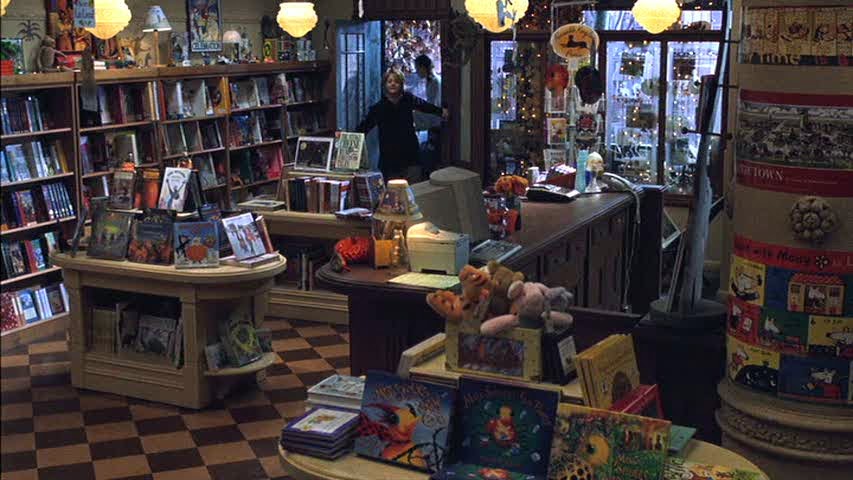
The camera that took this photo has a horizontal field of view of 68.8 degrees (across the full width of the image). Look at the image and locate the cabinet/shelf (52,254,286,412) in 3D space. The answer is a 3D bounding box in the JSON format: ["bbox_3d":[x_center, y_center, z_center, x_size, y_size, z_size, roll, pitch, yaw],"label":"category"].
[{"bbox_3d":[-2.462,0.767,6.311,2.639,1.334,1.427,6,14,20],"label":"cabinet/shelf"}]

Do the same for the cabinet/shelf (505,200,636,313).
[{"bbox_3d":[1.356,0.114,5.946,0.525,1.094,1.265,4,11,28],"label":"cabinet/shelf"}]

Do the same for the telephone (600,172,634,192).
[{"bbox_3d":[2.323,-0.699,7.638,0.436,0.199,0.264,6,16,14],"label":"telephone"}]

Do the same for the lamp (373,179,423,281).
[{"bbox_3d":[-0.212,-0.118,4.834,0.403,0.660,0.358,-1,16,-10],"label":"lamp"}]

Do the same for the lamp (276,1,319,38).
[{"bbox_3d":[-1.879,-3.220,9.189,0.701,0.483,0.677,-1,7,3],"label":"lamp"}]

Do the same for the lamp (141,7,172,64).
[{"bbox_3d":[-3.672,-2.799,8.520,0.371,0.775,0.806,-5,17,-21],"label":"lamp"}]

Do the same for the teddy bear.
[{"bbox_3d":[0.394,0.316,3.406,0.561,0.263,0.401,0,6,14],"label":"teddy bear"}]
